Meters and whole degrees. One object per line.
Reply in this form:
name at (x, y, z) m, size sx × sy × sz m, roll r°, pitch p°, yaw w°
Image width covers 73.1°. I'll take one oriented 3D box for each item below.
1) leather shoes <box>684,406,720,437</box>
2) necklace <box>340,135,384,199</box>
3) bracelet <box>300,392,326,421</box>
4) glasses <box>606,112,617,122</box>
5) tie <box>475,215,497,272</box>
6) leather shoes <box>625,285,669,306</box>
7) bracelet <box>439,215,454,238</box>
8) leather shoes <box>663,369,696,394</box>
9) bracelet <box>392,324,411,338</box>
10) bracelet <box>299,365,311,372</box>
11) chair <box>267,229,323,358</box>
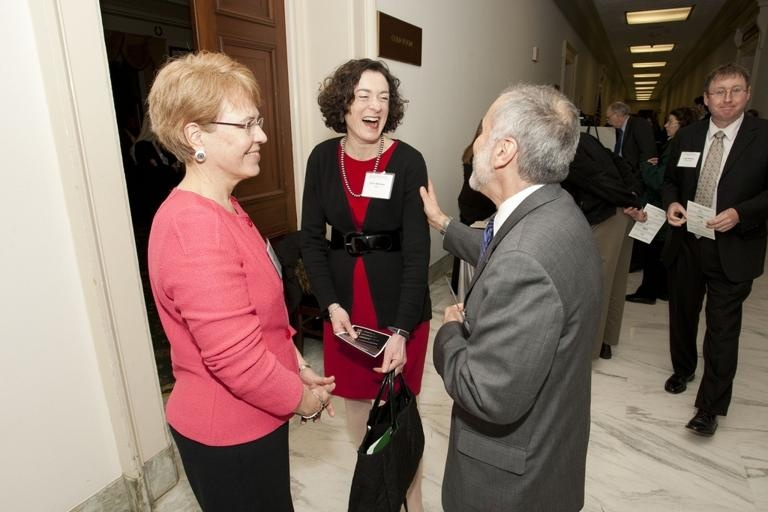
leather shoes at (2.062, 1.076, 3.331) m, size 0.111 × 0.111 × 0.249 m, roll -2°, pitch -7°, yaw 40°
necklace at (-0.166, -0.437, 2.656) m, size 0.178 × 0.336 × 0.061 m, roll 1°, pitch -4°, yaw 9°
bracelet at (-0.273, 0.611, 2.078) m, size 0.106 × 0.041 × 0.082 m, roll -38°, pitch -7°, yaw -36°
glasses at (2.428, -1.497, 5.528) m, size 0.033 × 0.113 × 0.106 m, roll -21°, pitch -4°, yaw 33°
tie at (0.449, -0.047, 2.283) m, size 0.057 × 0.136 × 0.339 m, roll 19°, pitch -22°, yaw 2°
leather shoes at (2.655, 0.413, 5.300) m, size 0.482 × 0.221 × 0.178 m, roll 6°, pitch 14°, yaw 30°
bracelet at (0.307, -0.146, 2.666) m, size 0.064 × 0.094 × 0.100 m, roll 24°, pitch 43°, yaw 26°
leather shoes at (2.136, 0.926, 3.744) m, size 0.270 × 0.121 × 0.117 m, roll -23°, pitch 31°, yaw -20°
bracelet at (0.083, 0.371, 2.506) m, size 0.056 × 0.063 × 0.056 m, roll 26°, pitch -13°, yaw -27°
bracelet at (-0.350, 0.503, 2.284) m, size 0.036 × 0.010 × 0.034 m, roll 0°, pitch 17°, yaw 13°
chair at (-0.636, 0.343, 3.816) m, size 0.437 × 0.712 × 0.466 m, roll -6°, pitch -9°, yaw 25°
